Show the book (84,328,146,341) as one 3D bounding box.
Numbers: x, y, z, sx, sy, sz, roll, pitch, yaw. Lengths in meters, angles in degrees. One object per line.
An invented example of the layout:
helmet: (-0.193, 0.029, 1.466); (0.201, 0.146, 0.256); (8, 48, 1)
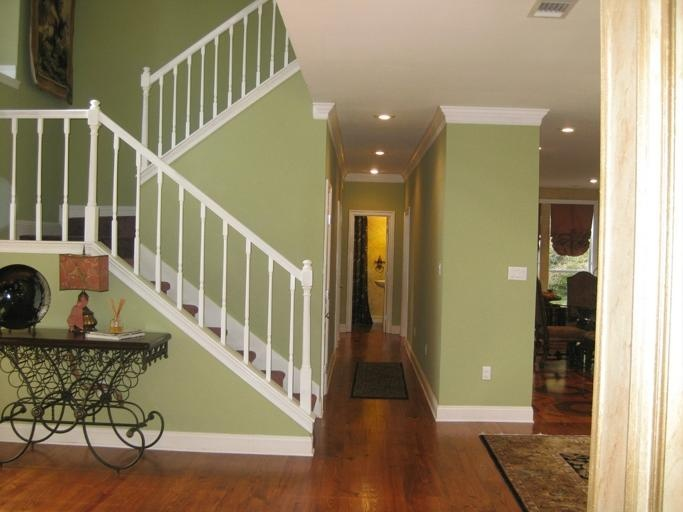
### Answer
book: (-1.606, 0.562, 4.479); (0.400, 0.056, 0.275); (-1, 7, -20)

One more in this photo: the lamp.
lamp: (-1.909, 0.266, 4.681); (0.349, 0.554, 0.329); (0, 7, -13)
